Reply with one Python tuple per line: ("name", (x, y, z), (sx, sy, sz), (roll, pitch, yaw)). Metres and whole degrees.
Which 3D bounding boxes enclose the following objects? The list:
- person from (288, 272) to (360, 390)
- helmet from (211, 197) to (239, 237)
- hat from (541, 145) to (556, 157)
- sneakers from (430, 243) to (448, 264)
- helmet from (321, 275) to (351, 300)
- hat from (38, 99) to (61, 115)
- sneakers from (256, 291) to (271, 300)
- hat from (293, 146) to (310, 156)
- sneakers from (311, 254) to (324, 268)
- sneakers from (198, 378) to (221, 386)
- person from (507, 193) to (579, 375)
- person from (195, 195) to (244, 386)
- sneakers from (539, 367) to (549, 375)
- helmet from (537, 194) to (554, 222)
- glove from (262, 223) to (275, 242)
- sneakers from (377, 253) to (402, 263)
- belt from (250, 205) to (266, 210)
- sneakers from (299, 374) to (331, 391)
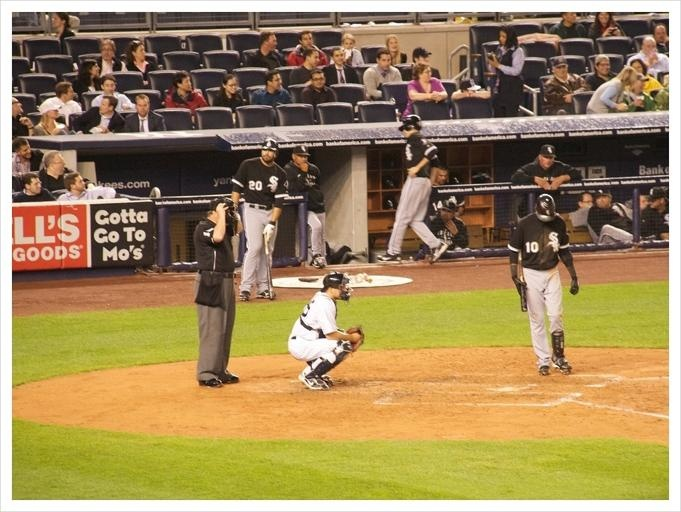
("person", (-0.134, 1.015, 16.502), (1.062, 1.469, 0.997), (4, 3, 25))
("helmet", (-1.536, -0.502, 16.221), (0.487, 0.439, 0.215), (10, -17, -43))
("hat", (3.556, -1.786, 20.577), (0.290, 0.173, 0.377), (5, 14, -9))
("sneakers", (1.893, -0.062, 23.206), (0.383, 0.096, 0.285), (-32, 1, 16))
("helmet", (-0.017, 0.371, 16.213), (0.402, 0.311, 0.318), (-5, 21, -26))
("hat", (-5.772, -3.000, 24.023), (0.531, 0.186, 0.332), (-7, 9, 12))
("sneakers", (-1.267, 0.658, 20.524), (0.288, 0.114, 0.104), (-3, 22, 1))
("hat", (-0.748, -1.916, 21.971), (0.224, 0.149, 0.298), (-5, 9, -44))
("sneakers", (-0.443, 0.095, 23.164), (0.303, 0.277, 0.275), (2, 5, 11))
("sneakers", (-1.767, 1.714, 16.396), (0.280, 0.109, 0.112), (-1, 5, 1))
("person", (2.771, 0.405, 16.650), (0.894, 2.466, 0.349), (2, 6, 8))
("person", (-1.649, 0.504, 16.271), (0.643, 2.556, 0.444), (-1, 6, -23))
("sneakers", (2.828, 1.580, 16.737), (0.106, 0.099, 0.123), (4, 12, 21))
("helmet", (2.839, -0.676, 16.624), (0.247, 0.377, 0.202), (-3, -34, -3))
("glove", (-1.161, -0.392, 19.785), (0.089, 0.251, 0.196), (19, 5, -12))
("sneakers", (0.959, 0.051, 23.360), (0.491, 0.179, 0.162), (5, 9, 0))
("belt", (-1.348, -0.815, 19.814), (0.249, 0.086, 0.057), (0, 6, -14))
("sneakers", (-0.340, 1.692, 16.311), (0.482, 0.193, 0.166), (8, 9, -3))
